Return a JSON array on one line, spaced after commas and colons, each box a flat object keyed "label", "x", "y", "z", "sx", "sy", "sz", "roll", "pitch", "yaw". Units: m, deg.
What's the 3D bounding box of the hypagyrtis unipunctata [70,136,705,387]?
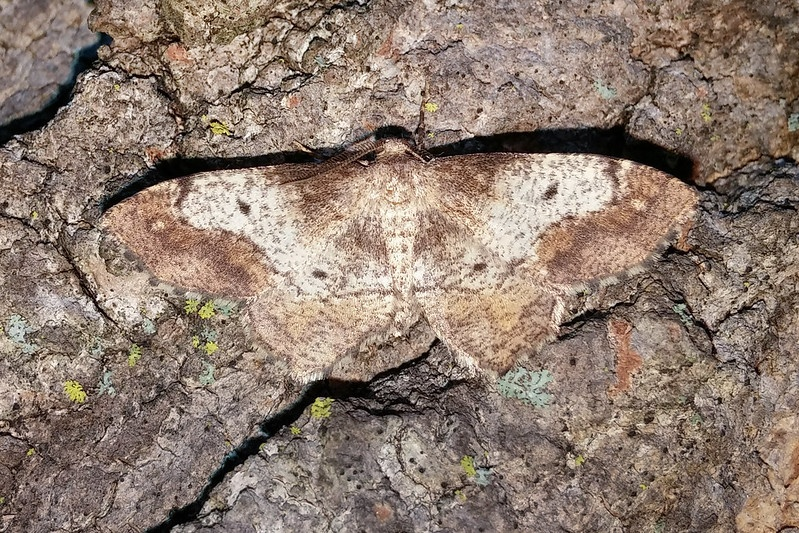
[{"label": "hypagyrtis unipunctata", "x": 0.139, "y": -0.313, "z": 13.201, "sx": 7.380, "sy": 1.247, "sz": 3.018, "roll": 1, "pitch": 95, "yaw": 3}]
